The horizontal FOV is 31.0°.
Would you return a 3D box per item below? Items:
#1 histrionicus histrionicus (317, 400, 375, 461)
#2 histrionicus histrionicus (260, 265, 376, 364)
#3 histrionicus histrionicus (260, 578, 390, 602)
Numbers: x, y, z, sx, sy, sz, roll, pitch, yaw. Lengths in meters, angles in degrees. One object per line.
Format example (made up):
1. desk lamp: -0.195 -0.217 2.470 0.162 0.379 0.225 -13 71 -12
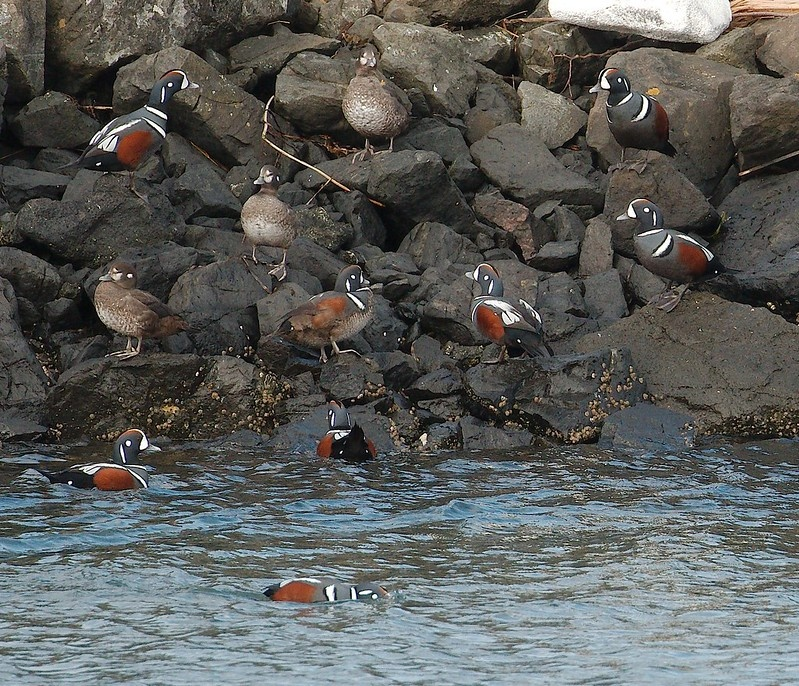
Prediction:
1. histrionicus histrionicus: -0.548 0.927 15.044 0.606 0.871 0.554 -10 104 -15
2. histrionicus histrionicus: -0.749 -0.345 15.894 1.342 0.771 0.913 -11 114 -28
3. histrionicus histrionicus: -0.610 1.988 11.523 0.969 0.296 0.178 2 89 3
